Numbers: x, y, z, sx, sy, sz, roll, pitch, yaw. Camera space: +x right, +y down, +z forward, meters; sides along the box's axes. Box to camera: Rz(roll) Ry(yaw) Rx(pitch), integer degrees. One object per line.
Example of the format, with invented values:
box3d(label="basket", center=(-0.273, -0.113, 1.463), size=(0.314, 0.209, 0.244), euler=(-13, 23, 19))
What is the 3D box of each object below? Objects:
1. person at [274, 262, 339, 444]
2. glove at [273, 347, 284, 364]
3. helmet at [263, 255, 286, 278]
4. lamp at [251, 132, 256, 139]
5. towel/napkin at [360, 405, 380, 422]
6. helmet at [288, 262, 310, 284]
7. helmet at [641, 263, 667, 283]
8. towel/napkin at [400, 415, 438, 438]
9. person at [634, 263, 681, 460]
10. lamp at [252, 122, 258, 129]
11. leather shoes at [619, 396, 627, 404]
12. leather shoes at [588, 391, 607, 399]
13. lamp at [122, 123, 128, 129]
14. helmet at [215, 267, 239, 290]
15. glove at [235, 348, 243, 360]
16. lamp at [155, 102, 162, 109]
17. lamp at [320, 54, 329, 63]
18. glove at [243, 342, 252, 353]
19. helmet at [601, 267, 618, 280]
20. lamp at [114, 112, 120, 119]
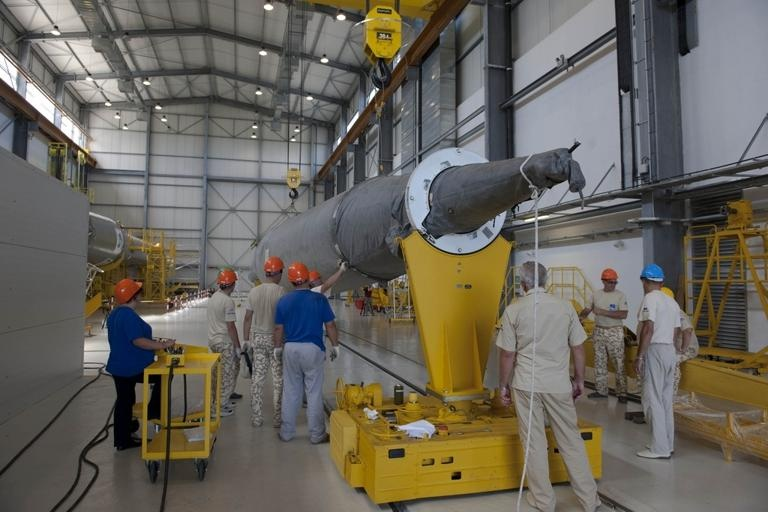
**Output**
box3d(label="person", center=(-1.272, 1.535, 9.542), size=(0.992, 2.856, 0.445), euler=(-1, -4, -6))
box3d(label="glove", center=(-1.794, 1.618, 9.767), size=(0.140, 0.268, 0.250), euler=(4, -11, -31))
box3d(label="helmet", center=(-1.904, 0.177, 10.273), size=(0.266, 0.355, 0.390), euler=(2, 6, 6))
box3d(label="lamp", center=(-7.399, -6.762, 33.503), size=(0.227, 0.268, 0.230), euler=(-8, -9, 44))
box3d(label="towel/napkin", center=(-0.205, 2.353, 8.894), size=(0.243, 0.162, 0.411), euler=(-1, -5, -7))
box3d(label="helmet", center=(-1.383, 0.277, 9.635), size=(0.247, 0.358, 0.346), euler=(-1, -7, -26))
box3d(label="helmet", center=(4.320, 0.275, 9.547), size=(0.388, 0.334, 0.574), euler=(5, 2, 12))
box3d(label="towel/napkin", center=(0.467, 2.465, 8.471), size=(0.554, 0.182, 0.380), euler=(-1, -5, -5))
box3d(label="person", center=(4.253, 1.602, 9.189), size=(0.768, 2.944, 0.427), euler=(0, -4, -15))
box3d(label="lamp", center=(-7.301, -7.321, 33.439), size=(0.271, 0.349, 0.330), euler=(11, -16, -22))
box3d(label="leather shoes", center=(4.357, 2.613, 10.809), size=(0.128, 0.141, 0.097), euler=(7, -12, 20))
box3d(label="leather shoes", center=(3.962, 2.596, 11.047), size=(0.362, 0.168, 0.134), euler=(-3, -5, 15))
box3d(label="lamp", center=(-14.076, -6.993, 32.206), size=(0.242, 0.276, 0.245), euler=(-2, -27, -8))
box3d(label="helmet", center=(-2.822, 0.441, 10.737), size=(0.382, 0.349, 0.586), euler=(-2, 15, 0))
box3d(label="glove", center=(-2.526, 1.678, 10.265), size=(0.102, 0.195, 0.232), euler=(0, -5, -13))
box3d(label="lamp", center=(-11.852, -7.787, 31.052), size=(0.276, 0.334, 0.281), euler=(-10, -18, 19))
box3d(label="lamp", center=(-2.514, -8.167, 24.918), size=(0.355, 0.434, 0.404), euler=(0, -36, -7))
box3d(label="glove", center=(-2.400, 1.575, 10.337), size=(0.087, 0.282, 0.206), euler=(2, -3, 21))
box3d(label="helmet", center=(4.174, 0.351, 11.039), size=(0.270, 0.205, 0.361), euler=(1, 2, 7))
box3d(label="lamp", center=(-14.369, -7.514, 31.879), size=(0.286, 0.337, 0.275), euler=(-6, -6, 39))
